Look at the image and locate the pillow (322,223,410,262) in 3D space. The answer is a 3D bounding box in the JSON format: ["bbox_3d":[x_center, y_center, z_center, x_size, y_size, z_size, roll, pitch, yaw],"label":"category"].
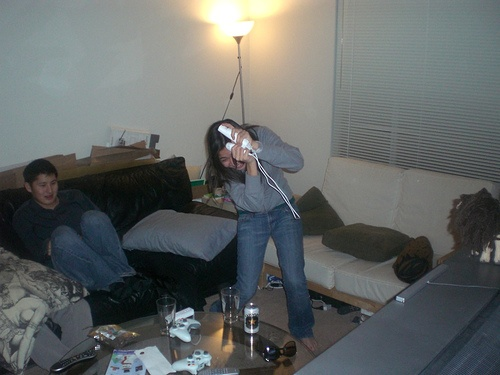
[{"bbox_3d":[0.961,0.427,3.145,0.603,0.203,0.637,-5,11,-34],"label":"pillow"}]

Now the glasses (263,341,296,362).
[{"bbox_3d":[0.152,0.843,2.002,0.176,0.068,0.072,-3,16,3],"label":"glasses"}]

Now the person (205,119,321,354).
[{"bbox_3d":[-0.009,0.319,2.576,0.792,1.561,0.661,-1,16,29],"label":"person"}]

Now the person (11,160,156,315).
[{"bbox_3d":[-1.214,0.378,2.766,0.979,1.098,0.534,10,21,39],"label":"person"}]

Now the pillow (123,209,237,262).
[{"bbox_3d":[-0.568,0.375,3.072,0.527,0.134,0.483,7,25,16],"label":"pillow"}]

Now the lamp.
[{"bbox_3d":[-0.084,-1.287,4.373,0.297,1.142,0.600,-3,16,2],"label":"lamp"}]

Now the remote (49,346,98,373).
[{"bbox_3d":[-0.886,0.869,1.943,0.075,0.025,0.203,17,18,43],"label":"remote"}]
